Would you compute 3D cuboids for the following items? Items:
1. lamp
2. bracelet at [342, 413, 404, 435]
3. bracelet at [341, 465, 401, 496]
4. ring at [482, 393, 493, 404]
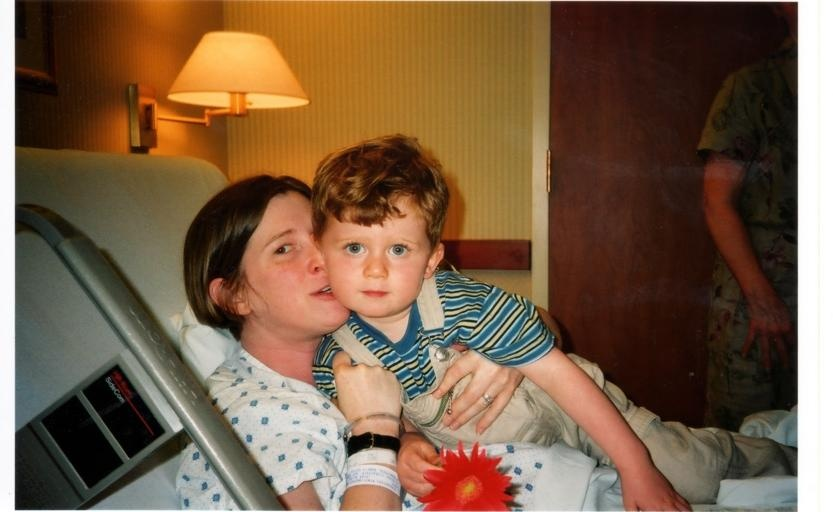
[{"bbox_3d":[-0.650,-0.542,2.065,0.597,0.361,0.476,1,11,0],"label":"lamp"},{"bbox_3d":[-0.105,0.389,1.437,0.086,0.030,0.059,0,13,-1],"label":"bracelet"},{"bbox_3d":[-0.100,0.506,1.382,0.118,0.068,0.037,-1,2,0],"label":"bracelet"},{"bbox_3d":[0.174,0.351,1.490,0.010,0.025,0.025,-34,11,-35],"label":"ring"}]
